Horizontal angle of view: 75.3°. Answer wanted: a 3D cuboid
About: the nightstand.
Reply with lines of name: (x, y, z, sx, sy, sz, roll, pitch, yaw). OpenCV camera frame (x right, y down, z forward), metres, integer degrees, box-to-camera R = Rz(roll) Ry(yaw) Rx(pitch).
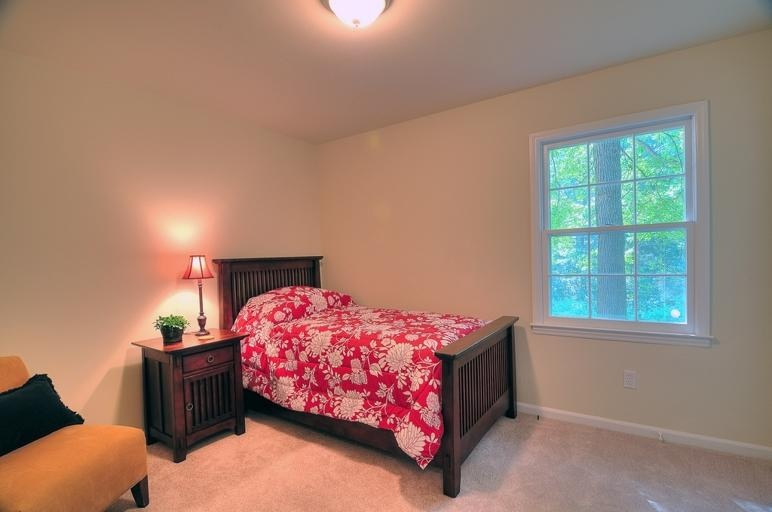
nightstand: (-1.760, 1.190, 4.584, 0.722, 0.928, 0.799, 3, 8, 27)

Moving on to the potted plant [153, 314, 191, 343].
potted plant: (-1.906, 0.621, 4.469, 0.253, 0.214, 0.251, 4, 2, 23)

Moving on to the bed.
bed: (-0.236, 0.841, 4.978, 2.661, 1.642, 1.636, 3, 6, 28)
